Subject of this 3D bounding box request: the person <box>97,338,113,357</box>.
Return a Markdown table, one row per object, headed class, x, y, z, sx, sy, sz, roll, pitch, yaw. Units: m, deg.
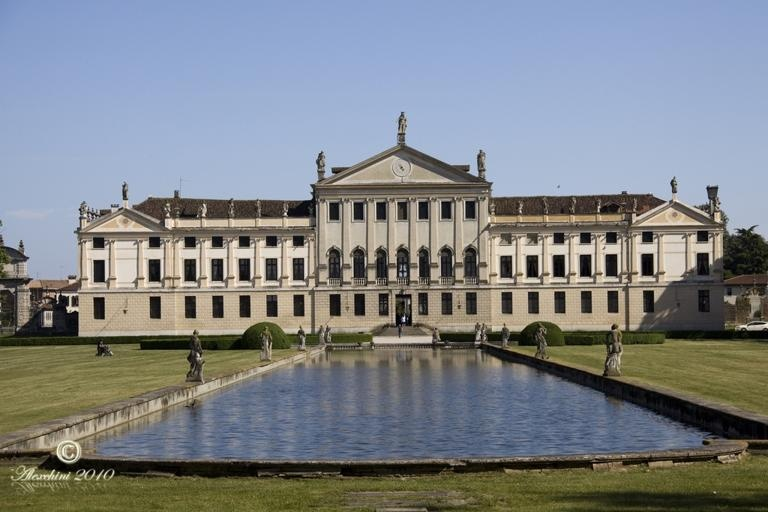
| class | x | y | z | sx | sy | sz | roll | pitch | yaw |
| --- | --- | --- | --- | --- | --- | --- | --- | --- | --- |
| person | -17.961 | 5.973 | 88.005 | 0.861 | 0.870 | 1.677 | 1 | -7 | -20 |
